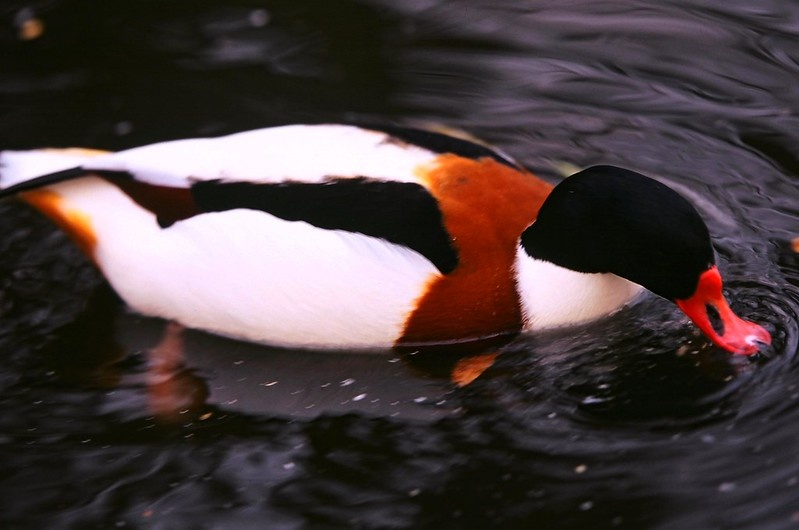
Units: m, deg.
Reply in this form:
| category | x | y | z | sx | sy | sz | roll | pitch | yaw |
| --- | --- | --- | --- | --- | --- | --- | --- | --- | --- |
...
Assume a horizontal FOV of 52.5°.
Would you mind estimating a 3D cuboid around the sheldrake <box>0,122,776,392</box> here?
| category | x | y | z | sx | sy | sz | roll | pitch | yaw |
| --- | --- | --- | --- | --- | --- | --- | --- | --- | --- |
| sheldrake | -0.063 | -0.077 | 2.766 | 1.760 | 0.550 | 1.156 | -21 | 70 | -13 |
